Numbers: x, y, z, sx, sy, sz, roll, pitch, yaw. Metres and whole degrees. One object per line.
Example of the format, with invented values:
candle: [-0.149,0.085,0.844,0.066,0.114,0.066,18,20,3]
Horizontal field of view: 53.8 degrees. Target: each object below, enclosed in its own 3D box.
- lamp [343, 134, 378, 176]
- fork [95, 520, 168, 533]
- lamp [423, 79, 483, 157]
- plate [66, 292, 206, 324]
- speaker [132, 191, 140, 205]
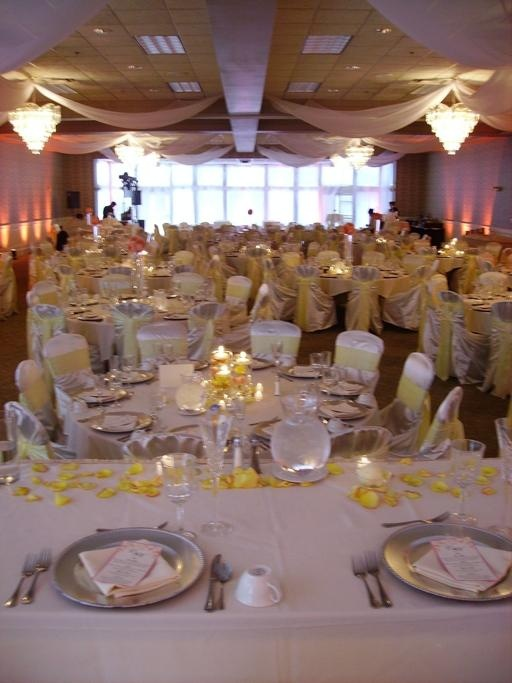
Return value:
lamp: [2.971,-5.385,14.554,0.763,0.910,1.375,2,5,10]
fork: [-0.322,0.472,1.280,0.186,0.024,0.018,-1,38,5]
lamp: [3.812,-4.264,9.733,0.847,0.897,0.647,-1,5,-20]
plate: [-1.582,-0.381,5.669,0.799,0.173,0.741,1,11,1]
speaker: [-5.608,-6.595,23.115,0.314,0.628,0.603,0,5,-4]
